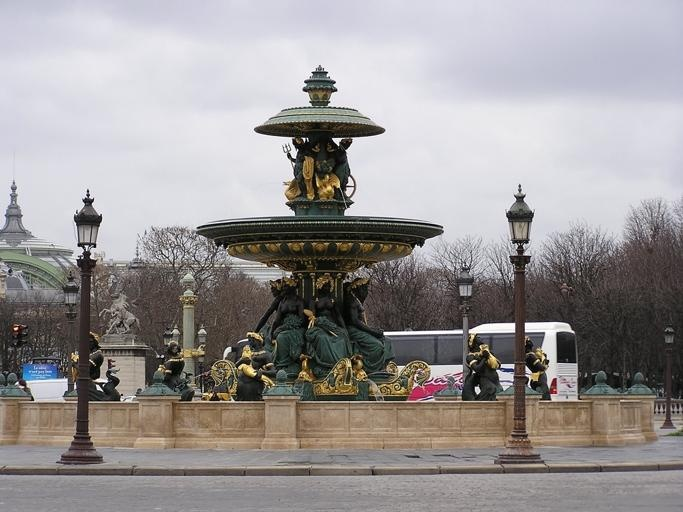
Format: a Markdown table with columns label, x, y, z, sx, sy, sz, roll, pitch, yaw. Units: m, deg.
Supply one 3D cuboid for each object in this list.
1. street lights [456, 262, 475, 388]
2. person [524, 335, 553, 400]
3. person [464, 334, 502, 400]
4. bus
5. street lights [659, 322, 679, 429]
| label | x | y | z | sx | sy | sz | roll | pitch | yaw |
| --- | --- | --- | --- | --- | --- | --- | --- | --- | --- |
| street lights | 4.105 | 1.750 | 58.957 | 0.726 | 4.469 | 0.522 | -5 | -4 | 30 |
| person | 5.943 | 3.346 | 53.982 | 0.632 | 2.219 | 0.801 | -2 | -5 | -33 |
| person | 4.221 | 3.334 | 52.698 | 0.860 | 2.054 | 0.818 | -2 | -4 | -40 |
| bus | 5.802 | 3.870 | 73.162 | 8.330 | 3.581 | 3.176 | 1 | -4 | 7 |
| street lights | 14.530 | 5.189 | 81.397 | 0.771 | 4.329 | 0.896 | -6 | -1 | -32 |
